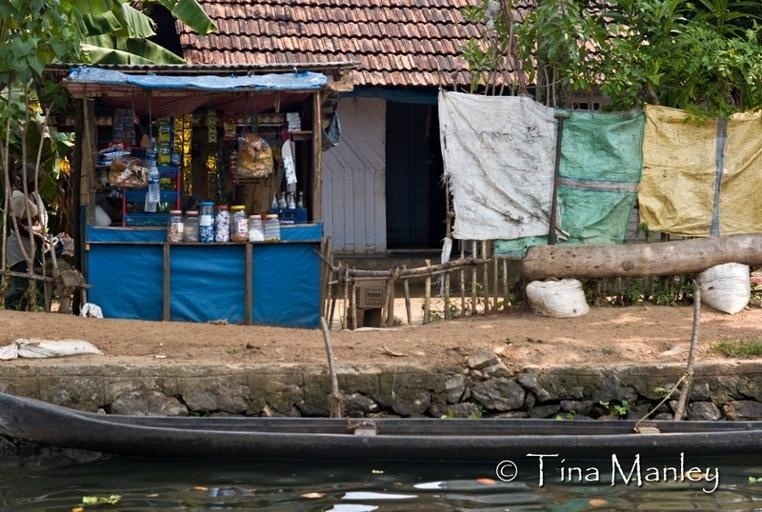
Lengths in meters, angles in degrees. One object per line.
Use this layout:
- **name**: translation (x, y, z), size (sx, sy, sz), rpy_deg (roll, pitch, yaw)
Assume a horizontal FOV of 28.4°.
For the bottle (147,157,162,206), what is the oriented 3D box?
- **bottle**: translation (-3.477, -1.060, 22.997), size (0.254, 0.793, 0.098), rpy_deg (-6, 7, -22)
